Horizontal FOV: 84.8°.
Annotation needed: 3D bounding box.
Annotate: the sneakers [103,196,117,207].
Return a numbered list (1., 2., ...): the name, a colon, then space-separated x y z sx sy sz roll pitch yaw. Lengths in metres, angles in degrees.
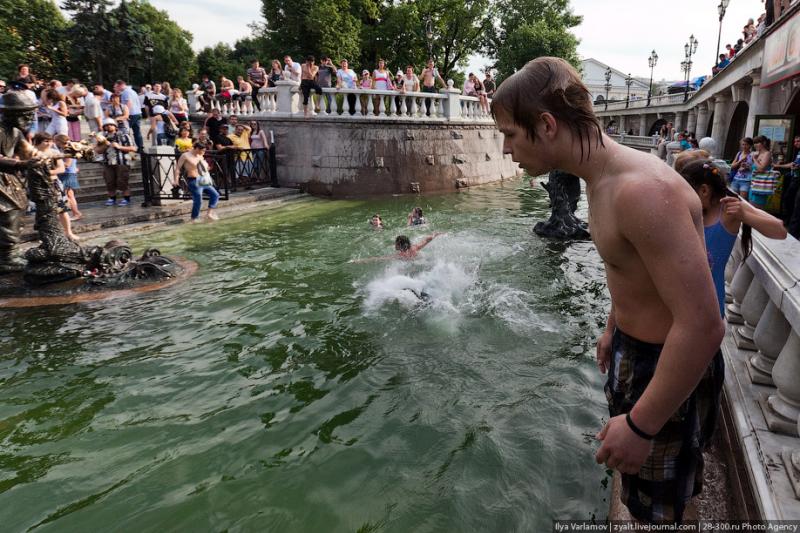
1. sneakers: -9.083 -2.031 13.652 0.258 0.281 0.688 -10 15 -33

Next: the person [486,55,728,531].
1. person: 1.254 0.258 2.407 0.881 2.767 0.917 -11 16 -21

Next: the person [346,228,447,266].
1. person: -0.166 -0.442 9.498 1.349 0.554 0.935 3 16 26
